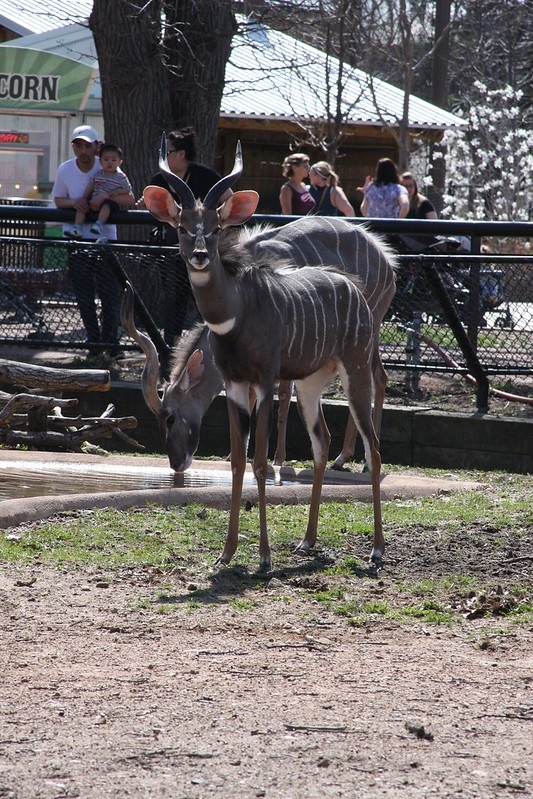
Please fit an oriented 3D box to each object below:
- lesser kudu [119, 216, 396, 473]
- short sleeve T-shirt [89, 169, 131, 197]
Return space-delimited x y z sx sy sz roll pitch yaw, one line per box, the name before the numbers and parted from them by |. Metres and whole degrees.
lesser kudu | -0.186 -0.227 8.299 1.221 1.754 1.709 8 18 20
short sleeve T-shirt | -1.218 -1.655 11.175 0.223 0.213 0.116 3 -15 -7
